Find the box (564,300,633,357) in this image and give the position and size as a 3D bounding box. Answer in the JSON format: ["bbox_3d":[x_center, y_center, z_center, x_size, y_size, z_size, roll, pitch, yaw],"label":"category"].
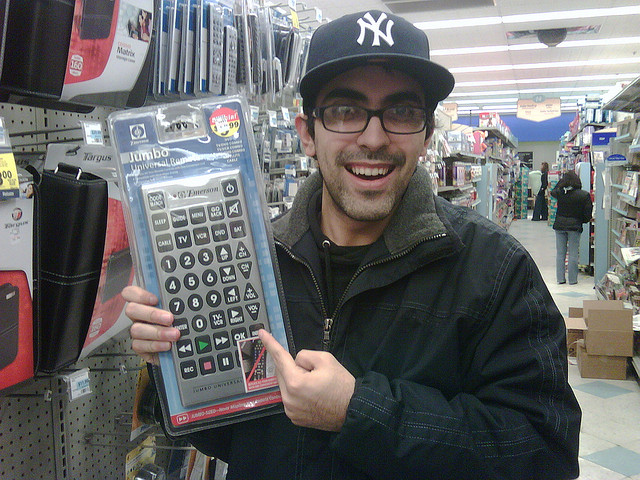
[{"bbox_3d":[2.337,0.703,4.283,0.491,0.539,0.608,1,-1,17],"label":"box"}]

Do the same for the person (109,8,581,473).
[{"bbox_3d":[0.062,0.015,1.249,1.087,1.136,0.403,1,6,8],"label":"person"}]

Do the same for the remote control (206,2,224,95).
[{"bbox_3d":[-0.376,-0.680,1.790,0.036,0.312,0.102,2,7,25],"label":"remote control"}]

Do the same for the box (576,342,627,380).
[{"bbox_3d":[2.412,1.006,4.296,0.242,0.192,0.275,1,4,17],"label":"box"}]

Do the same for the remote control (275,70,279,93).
[{"bbox_3d":[-0.208,-0.750,2.379,0.017,0.098,0.033,1,6,10],"label":"remote control"}]

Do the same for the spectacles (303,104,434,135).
[{"bbox_3d":[0.131,-0.304,1.279,0.299,0.077,0.058,0,7,3],"label":"spectacles"}]
